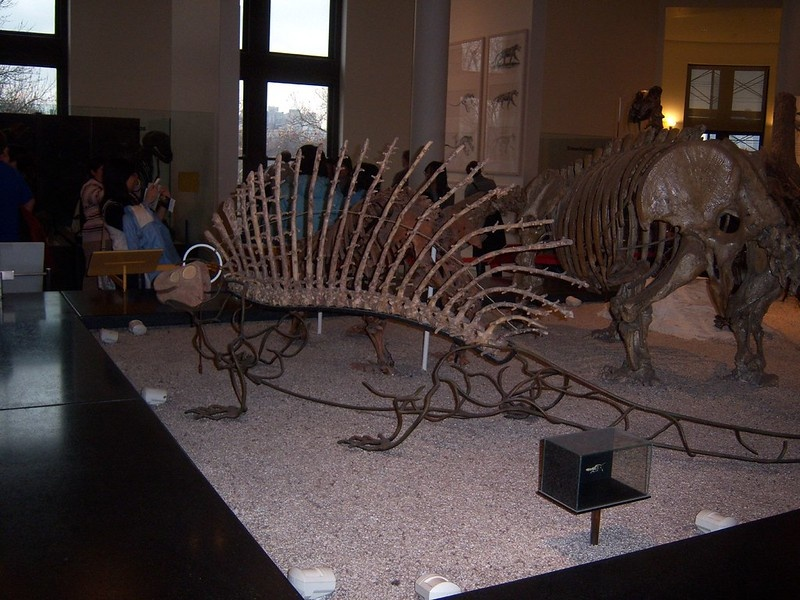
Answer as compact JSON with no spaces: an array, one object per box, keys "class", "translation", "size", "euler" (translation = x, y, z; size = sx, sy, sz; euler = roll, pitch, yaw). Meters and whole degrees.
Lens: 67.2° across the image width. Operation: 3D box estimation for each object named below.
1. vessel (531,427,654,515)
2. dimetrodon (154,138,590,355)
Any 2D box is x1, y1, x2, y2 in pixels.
[{"class":"vessel","translation":[0.836,0.748,2.673],"size":[0.429,0.256,0.308],"euler":[1,4,-31]},{"class":"dimetrodon","translation":[-0.455,-0.364,3.847],"size":[2.744,1.373,0.562],"euler":[9,22,28]}]
